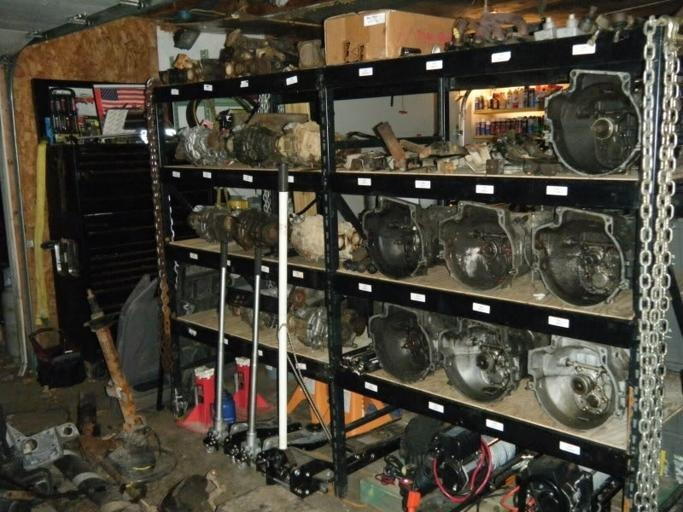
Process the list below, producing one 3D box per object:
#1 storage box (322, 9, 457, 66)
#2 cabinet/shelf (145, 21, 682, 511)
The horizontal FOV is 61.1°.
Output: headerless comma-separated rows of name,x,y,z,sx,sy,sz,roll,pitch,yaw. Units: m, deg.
storage box,0.337,-1.193,3.377,0.548,0.204,0.401,-14,22,-38
cabinet/shelf,0.375,0.135,3.440,0.982,2.390,3.215,-11,15,-44
